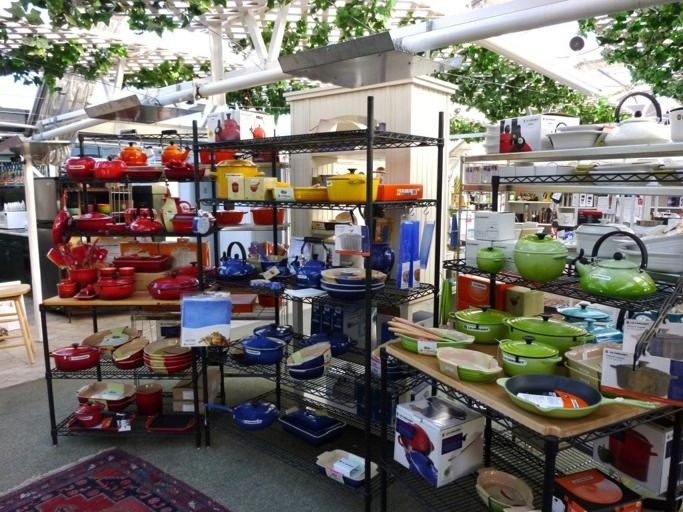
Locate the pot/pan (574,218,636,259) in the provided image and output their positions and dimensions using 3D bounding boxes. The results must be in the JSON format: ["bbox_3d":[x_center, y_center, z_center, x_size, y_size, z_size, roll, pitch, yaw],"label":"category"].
[{"bbox_3d":[1.468,-0.087,2.704,0.295,0.134,0.211,-3,8,-15],"label":"pot/pan"}]

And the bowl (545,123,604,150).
[{"bbox_3d":[1.409,-0.714,2.985,0.300,0.086,0.272,1,8,22],"label":"bowl"}]

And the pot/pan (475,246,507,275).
[{"bbox_3d":[0.862,0.037,2.893,0.214,0.104,0.139,-2,8,-12],"label":"pot/pan"}]

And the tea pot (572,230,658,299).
[{"bbox_3d":[1.354,0.035,2.488,0.399,0.322,0.302,6,11,37],"label":"tea pot"}]

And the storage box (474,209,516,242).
[{"bbox_3d":[0.920,-0.180,2.979,0.244,0.162,0.225,-1,4,-37],"label":"storage box"}]

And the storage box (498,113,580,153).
[{"bbox_3d":[1.304,-0.756,3.261,0.407,0.179,0.382,4,8,35],"label":"storage box"}]

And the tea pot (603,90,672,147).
[{"bbox_3d":[1.740,-0.771,2.884,0.418,0.296,0.398,-2,12,0],"label":"tea pot"}]
